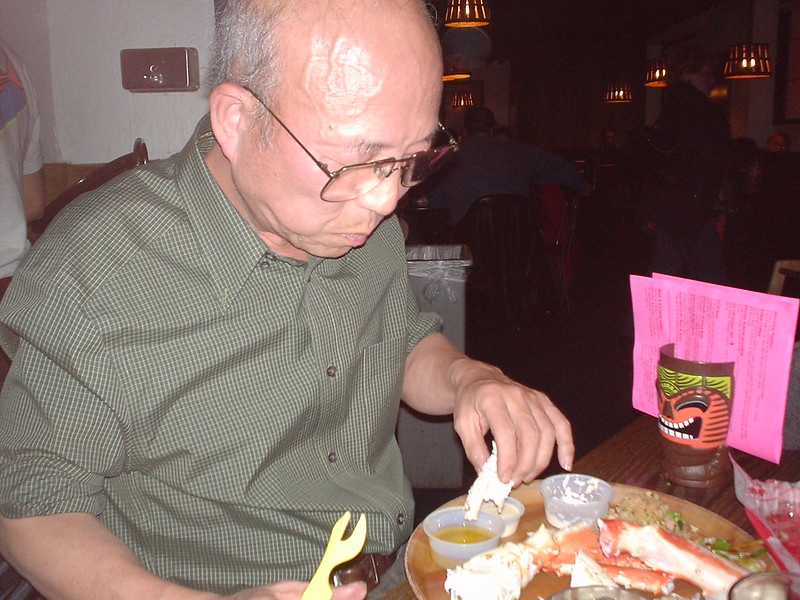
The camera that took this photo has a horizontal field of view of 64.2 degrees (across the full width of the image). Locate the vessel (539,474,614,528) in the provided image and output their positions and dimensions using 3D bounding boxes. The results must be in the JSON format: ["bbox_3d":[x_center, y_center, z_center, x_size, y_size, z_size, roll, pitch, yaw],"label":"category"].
[{"bbox_3d":[0.327,0.409,1.272,0.148,0.068,0.151,-3,12,25],"label":"vessel"}]

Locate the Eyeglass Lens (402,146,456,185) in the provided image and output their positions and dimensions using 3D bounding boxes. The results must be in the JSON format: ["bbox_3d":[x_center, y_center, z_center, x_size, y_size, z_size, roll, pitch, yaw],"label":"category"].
[{"bbox_3d":[0.050,-0.270,1.275,0.103,0.031,0.101,39,28,16],"label":"Eyeglass Lens"}]

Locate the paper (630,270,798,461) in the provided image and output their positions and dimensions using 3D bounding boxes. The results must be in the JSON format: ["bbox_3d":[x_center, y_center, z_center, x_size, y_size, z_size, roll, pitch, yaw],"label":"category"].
[{"bbox_3d":[0.687,0.161,1.408,0.050,0.343,0.353,-11,18,-39],"label":"paper"}]

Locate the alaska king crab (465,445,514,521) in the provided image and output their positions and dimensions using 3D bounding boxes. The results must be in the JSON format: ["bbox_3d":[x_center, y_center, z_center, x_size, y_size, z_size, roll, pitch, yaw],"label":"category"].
[{"bbox_3d":[0.181,0.374,1.274,0.093,0.147,0.051,7,-1,-9],"label":"alaska king crab"}]

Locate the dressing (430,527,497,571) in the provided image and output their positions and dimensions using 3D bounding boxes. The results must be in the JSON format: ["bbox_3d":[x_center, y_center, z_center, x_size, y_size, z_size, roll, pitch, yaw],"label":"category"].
[{"bbox_3d":[0.115,0.461,1.190,0.074,0.028,0.076,1,5,0],"label":"dressing"}]

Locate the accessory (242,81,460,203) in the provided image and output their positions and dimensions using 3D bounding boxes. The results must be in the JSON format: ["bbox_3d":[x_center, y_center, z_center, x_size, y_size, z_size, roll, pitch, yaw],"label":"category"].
[{"bbox_3d":[-0.070,-0.312,1.232,0.433,0.217,0.187,-8,18,-12],"label":"accessory"}]
